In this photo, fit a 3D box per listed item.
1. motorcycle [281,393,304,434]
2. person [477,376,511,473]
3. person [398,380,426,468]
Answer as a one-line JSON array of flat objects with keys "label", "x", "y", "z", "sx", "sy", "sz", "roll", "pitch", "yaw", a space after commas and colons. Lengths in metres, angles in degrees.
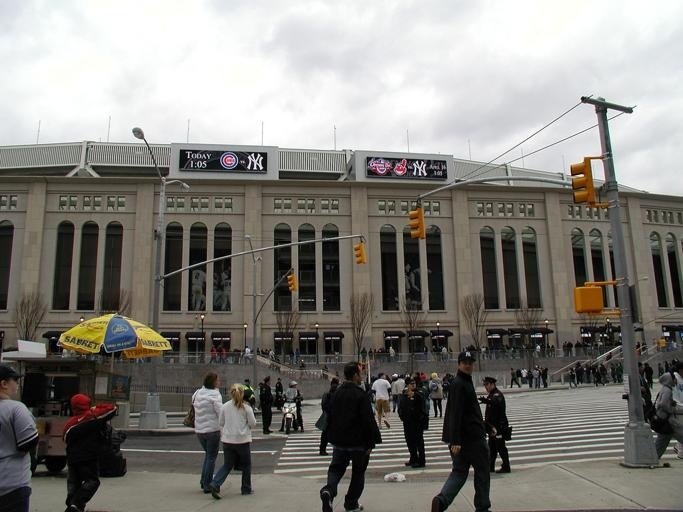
[{"label": "motorcycle", "x": -2.062, "y": 6.366, "z": 22.793, "sx": 0.803, "sy": 1.628, "sz": 1.486, "roll": -2, "pitch": -11, "yaw": 5}, {"label": "person", "x": 3.715, "y": 4.084, "z": 13.698, "sx": 0.925, "sy": 2.420, "sz": 0.839, "roll": 1, "pitch": -5, "yaw": -5}, {"label": "person", "x": 1.917, "y": 4.386, "z": 14.580, "sx": 0.495, "sy": 2.165, "sz": 0.683, "roll": 5, "pitch": -4, "yaw": -11}]
